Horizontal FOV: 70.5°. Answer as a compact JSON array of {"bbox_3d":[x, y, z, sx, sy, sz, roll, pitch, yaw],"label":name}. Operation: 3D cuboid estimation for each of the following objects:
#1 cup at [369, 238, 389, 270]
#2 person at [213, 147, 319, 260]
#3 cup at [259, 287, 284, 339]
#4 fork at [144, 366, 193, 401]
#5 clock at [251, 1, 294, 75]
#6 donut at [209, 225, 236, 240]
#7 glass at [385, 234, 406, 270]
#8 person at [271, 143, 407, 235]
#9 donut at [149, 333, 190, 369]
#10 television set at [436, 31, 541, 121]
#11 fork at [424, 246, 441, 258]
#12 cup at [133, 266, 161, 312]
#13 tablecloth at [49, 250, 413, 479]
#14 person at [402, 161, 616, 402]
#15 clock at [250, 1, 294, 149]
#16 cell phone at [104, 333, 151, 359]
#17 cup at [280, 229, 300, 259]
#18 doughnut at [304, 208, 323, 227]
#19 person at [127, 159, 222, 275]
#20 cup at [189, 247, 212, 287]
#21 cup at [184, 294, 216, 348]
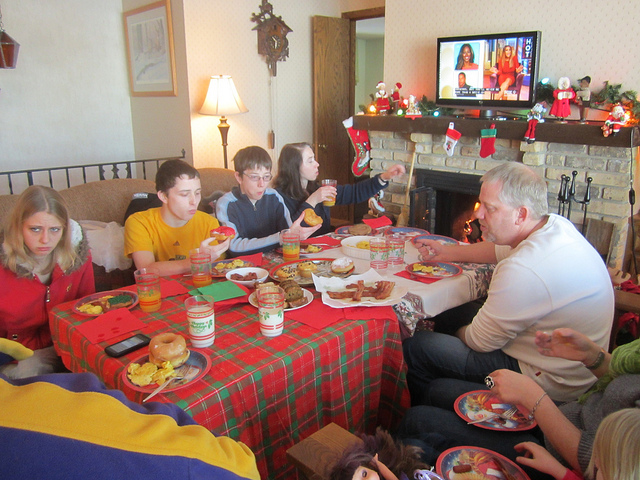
[{"bbox_3d":[0.281,0.056,2.134,0.094,0.121,0.119,3,13,10],"label":"cup"},{"bbox_3d":[-0.256,-0.245,2.617,0.511,0.655,0.701,-19,31,-41],"label":"person"},{"bbox_3d":[-0.169,0.245,1.560,0.081,0.155,0.100,-3,12,-9],"label":"cup"},{"bbox_3d":[-0.438,0.414,1.316,0.023,0.020,0.174,-2,24,30],"label":"fork"},{"bbox_3d":[-0.537,-2.234,4.902,0.569,1.040,0.112,-21,32,-35],"label":"clock"},{"bbox_3d":[-0.483,-0.028,2.146,0.096,0.037,0.094,2,8,35],"label":"donut"},{"bbox_3d":[0.357,0.049,2.207,0.134,0.175,0.148,1,12,9],"label":"glass"},{"bbox_3d":[0.103,-0.165,3.016,0.767,0.866,0.581,-1,31,-9],"label":"person"},{"bbox_3d":[-0.466,0.331,1.369,0.098,0.062,0.099,3,20,1],"label":"donut"},{"bbox_3d":[1.258,-1.218,3.300,0.720,0.513,0.218,16,29,41],"label":"television set"},{"bbox_3d":[0.545,0.056,2.195,0.014,0.051,0.049,-45,-14,30],"label":"fork"},{"bbox_3d":[-0.669,0.185,1.751,0.085,0.155,0.132,-8,14,-31],"label":"cup"},{"bbox_3d":[-0.211,0.408,1.572,0.811,0.414,0.788,-21,33,-38],"label":"tablecloth"},{"bbox_3d":[0.797,0.336,2.004,0.829,1.207,0.623,8,16,41],"label":"person"},{"bbox_3d":[-0.538,-2.133,4.894,0.423,0.824,0.163,-9,14,-34],"label":"clock"},{"bbox_3d":[-0.629,0.346,1.470,0.083,0.016,0.154,12,18,29],"label":"cell phone"},{"bbox_3d":[-0.140,0.031,2.268,0.095,0.142,0.147,0,8,4],"label":"cup"},{"bbox_3d":[-0.041,-0.121,2.351,0.094,0.083,0.024,20,-46,-37],"label":"doughnut"},{"bbox_3d":[-0.728,-0.055,2.333,0.489,0.710,0.426,-10,19,-38],"label":"person"},{"bbox_3d":[-0.519,0.117,1.944,0.102,0.160,0.104,-3,3,0],"label":"cup"},{"bbox_3d":[-0.403,0.278,1.516,0.105,0.166,0.100,-2,3,0],"label":"cup"}]
